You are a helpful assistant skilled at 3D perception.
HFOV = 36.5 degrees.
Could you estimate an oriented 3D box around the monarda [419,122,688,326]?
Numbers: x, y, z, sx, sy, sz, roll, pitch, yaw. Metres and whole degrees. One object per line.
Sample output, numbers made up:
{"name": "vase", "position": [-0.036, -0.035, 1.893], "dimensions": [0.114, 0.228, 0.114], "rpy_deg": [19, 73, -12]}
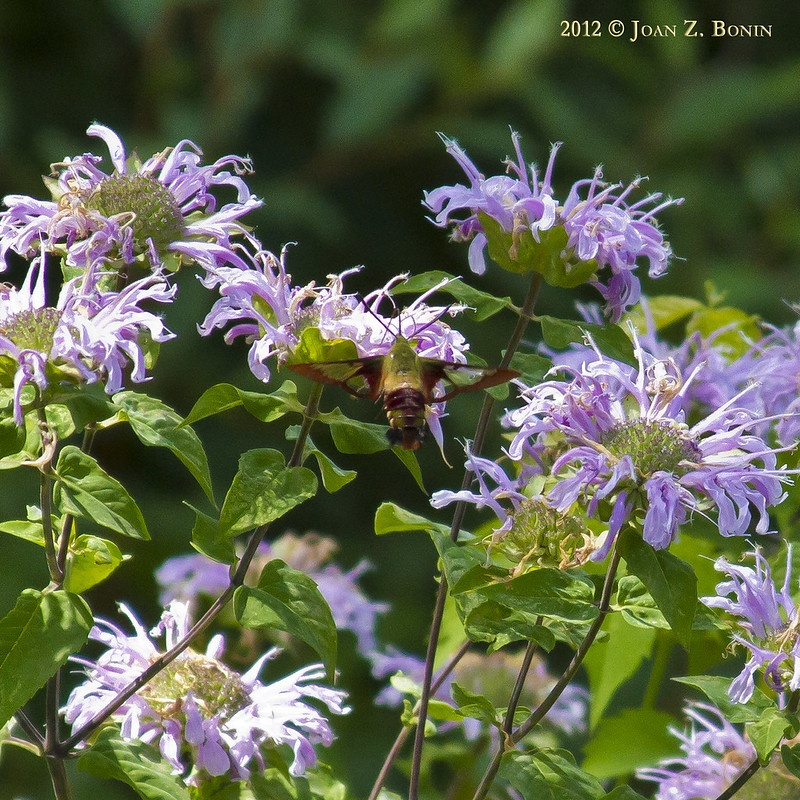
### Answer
{"name": "monarda", "position": [0.235, -0.255, 1.851], "dimensions": [0.371, 0.304, 0.323], "rpy_deg": [2, 31, 12]}
